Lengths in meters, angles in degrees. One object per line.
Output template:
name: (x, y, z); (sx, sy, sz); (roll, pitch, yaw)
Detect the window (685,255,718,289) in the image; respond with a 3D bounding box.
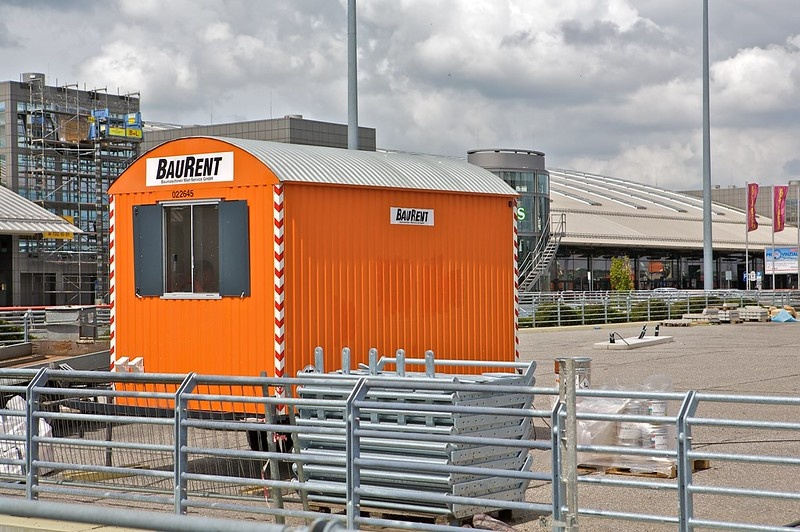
window: (20.662, 0.366, 85.498); (2.808, 2.702, 1.420); (-1, 6, 8)

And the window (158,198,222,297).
window: (-4.015, -0.374, 23.984); (2.065, 2.490, 0.258); (0, 1, 31)

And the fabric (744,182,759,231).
fabric: (26.195, -4.251, 91.600); (0.548, 3.615, 10.868); (-2, -4, 18)

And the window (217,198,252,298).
window: (-3.147, -0.268, 23.589); (0.700, 1.721, 0.110); (-2, -1, 28)

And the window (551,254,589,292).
window: (11.403, 0.634, 85.768); (3.403, 2.824, 1.832); (0, -4, -32)

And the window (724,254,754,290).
window: (27.396, 0.375, 100.052); (3.018, 3.009, 1.694); (0, -3, 16)

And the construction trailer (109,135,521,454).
construction trailer: (-1.558, 0.010, 26.915); (4.934, 5.219, 8.481); (0, 2, 39)

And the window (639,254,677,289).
window: (18.910, 0.492, 94.221); (4.212, 2.828, 2.229); (0, -5, -37)

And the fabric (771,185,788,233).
fabric: (27.286, -3.953, 88.898); (0.853, 3.057, 7.934); (-2, -4, 17)

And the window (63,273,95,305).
window: (-20.222, 1.347, 77.579); (1.116, 1.924, 2.074); (-3, -1, 27)

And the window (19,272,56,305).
window: (-22.157, 1.297, 75.548); (0.668, 1.912, 2.743); (-3, -4, 28)

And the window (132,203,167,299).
window: (-4.983, -0.298, 24.369); (0.080, 1.800, 0.698); (-1, 0, 41)

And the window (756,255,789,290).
window: (29.138, 0.419, 96.945); (3.174, 2.848, 1.612); (-1, -5, 11)
